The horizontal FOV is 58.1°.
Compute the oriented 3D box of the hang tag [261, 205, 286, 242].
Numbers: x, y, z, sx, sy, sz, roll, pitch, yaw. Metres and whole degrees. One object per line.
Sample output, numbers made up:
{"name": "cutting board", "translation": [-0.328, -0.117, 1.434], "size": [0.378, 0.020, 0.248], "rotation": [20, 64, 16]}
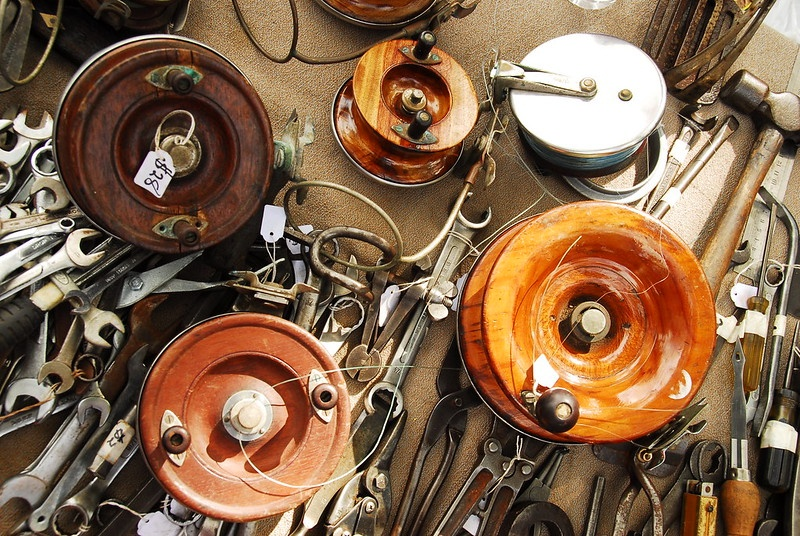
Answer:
{"name": "hang tag", "translation": [-0.565, -0.201, 3.218], "size": [0.103, 0.008, 0.183], "rotation": [4, -53, -18]}

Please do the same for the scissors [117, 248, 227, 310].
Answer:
{"name": "scissors", "translation": [-1.033, 0.047, 3.146], "size": [0.367, 0.064, 0.208], "rotation": [-33, -80, -14]}
